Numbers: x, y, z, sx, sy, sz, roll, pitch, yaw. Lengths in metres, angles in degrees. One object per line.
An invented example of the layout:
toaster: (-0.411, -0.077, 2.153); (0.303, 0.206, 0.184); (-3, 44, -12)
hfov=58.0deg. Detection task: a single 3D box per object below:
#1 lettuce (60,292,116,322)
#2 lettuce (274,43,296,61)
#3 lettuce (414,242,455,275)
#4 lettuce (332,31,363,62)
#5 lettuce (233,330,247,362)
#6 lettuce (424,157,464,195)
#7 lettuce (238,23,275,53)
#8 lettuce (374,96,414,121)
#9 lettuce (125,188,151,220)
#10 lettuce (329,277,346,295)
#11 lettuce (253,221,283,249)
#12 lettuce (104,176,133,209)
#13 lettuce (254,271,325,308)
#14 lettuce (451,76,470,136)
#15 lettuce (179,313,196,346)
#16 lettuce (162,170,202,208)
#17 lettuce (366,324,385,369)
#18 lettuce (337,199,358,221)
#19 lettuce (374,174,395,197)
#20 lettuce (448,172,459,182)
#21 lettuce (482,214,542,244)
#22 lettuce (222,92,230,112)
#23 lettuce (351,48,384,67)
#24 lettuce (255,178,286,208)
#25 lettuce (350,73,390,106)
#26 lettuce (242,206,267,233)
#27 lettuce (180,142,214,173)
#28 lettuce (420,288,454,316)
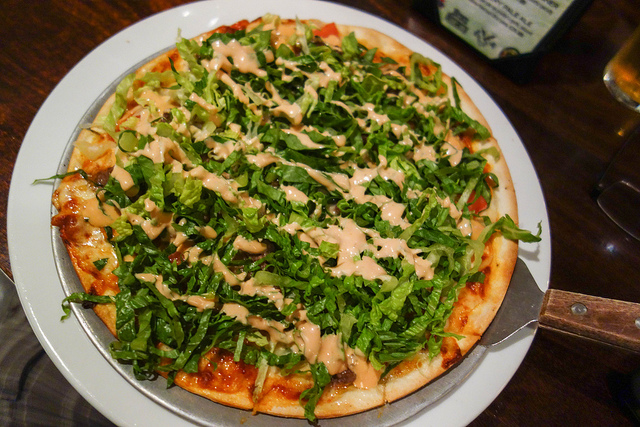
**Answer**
lettuce: (-1.140, 0.426, 2.816); (0.325, 0.145, 0.116); (-15, 85, -4)
lettuce: (-0.192, -0.861, 3.107); (0.069, 0.090, 0.073); (-34, 54, -7)
lettuce: (0.588, 0.191, 2.887); (0.218, 0.054, 0.105); (33, 85, 0)
lettuce: (0.168, -0.898, 3.238); (0.146, 0.060, 0.173); (-9, 87, 2)
lettuce: (-0.380, 0.637, 2.785); (0.039, 0.028, 0.168); (11, 80, 14)
lettuce: (0.664, -0.175, 3.109); (0.288, 0.103, 0.100); (36, 67, -2)
lettuce: (-0.336, -0.951, 3.088); (0.140, 0.057, 0.163); (-32, 40, -18)
lettuce: (0.394, -0.563, 3.147); (0.149, 0.058, 0.153); (-40, 63, -11)
lettuce: (-0.867, -0.042, 2.771); (0.125, 0.043, 0.133); (27, 87, -2)
lettuce: (0.082, 0.351, 2.799); (0.064, 0.016, 0.083); (-27, 87, -4)
lettuce: (-0.253, 0.103, 2.861); (0.145, 0.032, 0.098); (38, 80, 27)
lettuce: (-1.026, -0.096, 2.883); (0.122, 0.039, 0.132); (9, 105, 43)
lettuce: (-0.153, 0.355, 2.807); (0.345, 0.061, 0.114); (23, 85, -1)
lettuce: (0.780, -0.596, 3.251); (0.112, 0.043, 0.316); (-14, 79, 30)
lettuce: (-0.632, 0.551, 2.759); (0.082, 0.030, 0.140); (-10, 90, 5)
lettuce: (-0.676, -0.129, 2.815); (0.195, 0.104, 0.159); (21, 84, 0)
lettuce: (0.275, 0.648, 2.803); (0.060, 0.055, 0.217); (10, 112, 28)
lettuce: (0.129, -0.007, 2.933); (0.044, 0.112, 0.072); (-44, 34, 29)
lettuce: (0.344, -0.144, 3.021); (0.146, 0.030, 0.050); (43, 100, 21)
lettuce: (0.719, -0.193, 3.085); (0.043, 0.013, 0.042); (40, 95, -23)
lettuce: (1.028, 0.096, 3.061); (0.260, 0.094, 0.156); (0, 43, 14)
lettuce: (-0.481, -0.573, 2.982); (0.017, 0.051, 0.075); (4, 100, 28)
lettuce: (0.256, -0.863, 3.211); (0.129, 0.055, 0.118); (-33, 70, -4)
lettuce: (-0.238, -0.099, 2.872); (0.204, 0.019, 0.071); (38, 103, 3)
lettuce: (0.272, -0.673, 3.130); (0.167, 0.069, 0.184); (14, 120, 3)
lettuce: (-0.333, 0.017, 2.847); (0.156, 0.150, 0.063); (14, 103, 41)
lettuce: (-0.619, -0.271, 2.882); (0.222, 0.040, 0.057); (44, 85, 1)
lettuce: (0.572, 0.439, 2.864); (0.196, 0.060, 0.064); (32, 84, 0)
